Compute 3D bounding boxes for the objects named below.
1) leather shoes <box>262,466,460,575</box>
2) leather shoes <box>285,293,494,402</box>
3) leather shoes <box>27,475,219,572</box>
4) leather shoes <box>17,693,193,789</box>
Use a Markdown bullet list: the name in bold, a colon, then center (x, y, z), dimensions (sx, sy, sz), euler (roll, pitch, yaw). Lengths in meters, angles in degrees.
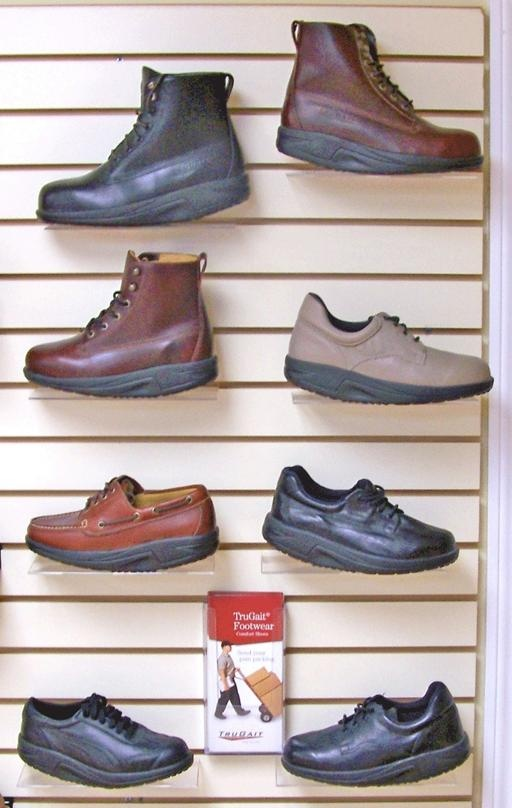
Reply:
- **leather shoes**: center (0.168, 0.208, 1.367), dimensions (0.402, 0.198, 0.152), euler (5, -1, 5)
- **leather shoes**: center (0.209, -0.088, 1.371), dimensions (0.435, 0.217, 0.154), euler (1, 2, 2)
- **leather shoes**: center (-0.203, 0.220, 1.385), dimensions (0.403, 0.191, 0.149), euler (3, -4, 2)
- **leather shoes**: center (-0.292, 0.632, 1.413), dimensions (0.375, 0.177, 0.146), euler (6, -4, 6)
